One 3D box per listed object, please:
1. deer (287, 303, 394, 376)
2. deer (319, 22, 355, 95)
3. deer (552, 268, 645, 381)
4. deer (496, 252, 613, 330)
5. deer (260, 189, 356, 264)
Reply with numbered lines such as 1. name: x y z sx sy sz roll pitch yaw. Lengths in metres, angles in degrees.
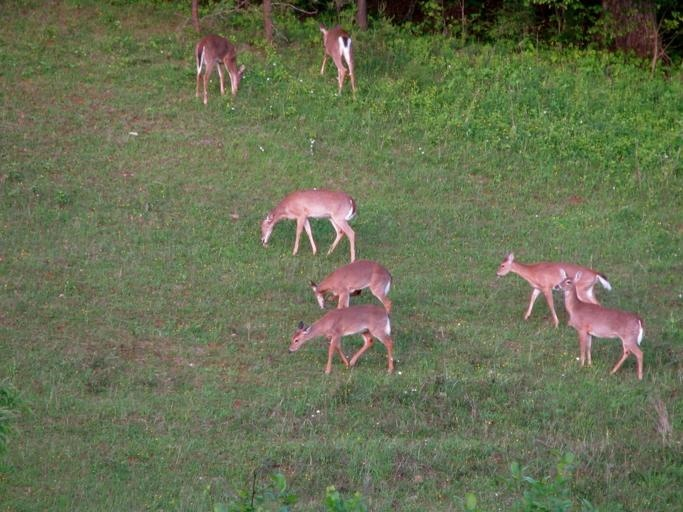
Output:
1. deer: -0.010 1.561 22.813 1.942 1.542 0.550 -7 28 -3
2. deer: -0.132 -5.056 30.593 0.818 1.568 2.308 -3 15 -10
3. deer: 4.843 1.247 22.337 1.321 2.083 1.409 9 14 42
4. deer: 4.148 0.409 23.901 1.464 1.685 1.732 -8 13 -33
5. deer: -0.758 -0.710 25.995 2.032 1.738 0.574 -2 19 0
